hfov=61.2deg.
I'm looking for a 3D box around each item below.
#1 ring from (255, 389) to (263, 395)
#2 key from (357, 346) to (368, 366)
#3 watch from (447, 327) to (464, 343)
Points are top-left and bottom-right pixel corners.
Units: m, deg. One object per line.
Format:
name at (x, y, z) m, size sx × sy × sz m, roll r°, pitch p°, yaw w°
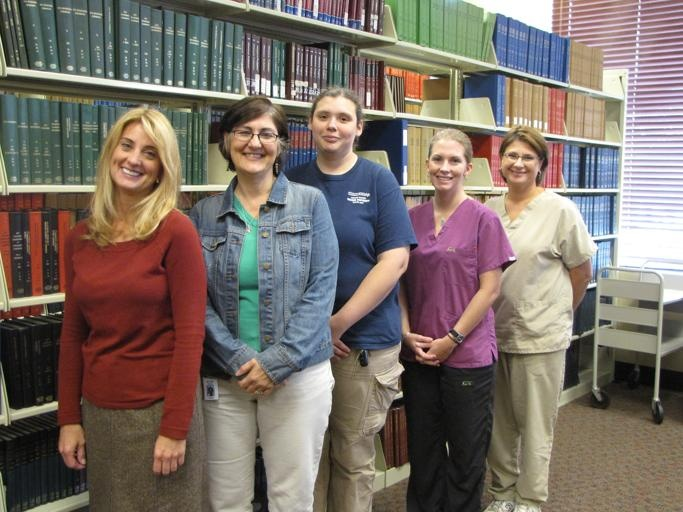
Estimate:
ring at (-0.281, 0.456, 1.937) m, size 0.019 × 0.022 × 0.017 m, roll -26°, pitch 5°, yaw 2°
key at (0.088, 0.417, 2.382) m, size 0.047 × 0.073 × 0.018 m, roll 0°, pitch 6°, yaw -5°
watch at (0.514, 0.357, 2.607) m, size 0.046 × 0.030 × 0.049 m, roll 47°, pitch -11°, yaw -34°
